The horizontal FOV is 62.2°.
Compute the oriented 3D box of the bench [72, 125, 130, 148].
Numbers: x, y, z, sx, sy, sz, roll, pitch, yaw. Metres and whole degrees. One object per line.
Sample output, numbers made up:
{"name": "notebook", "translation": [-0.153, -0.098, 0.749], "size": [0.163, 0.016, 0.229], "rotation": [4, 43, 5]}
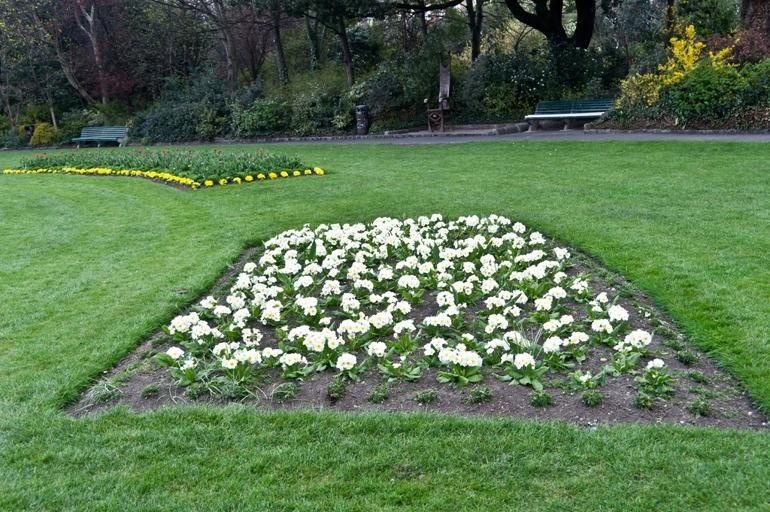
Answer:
{"name": "bench", "translation": [-15.601, -6.549, 35.157], "size": [1.943, 0.741, 0.736], "rotation": [0, 36, -4]}

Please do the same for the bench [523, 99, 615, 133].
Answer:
{"name": "bench", "translation": [6.998, -5.382, 24.248], "size": [1.652, 1.286, 3.177], "rotation": [-15, 23, -38]}
